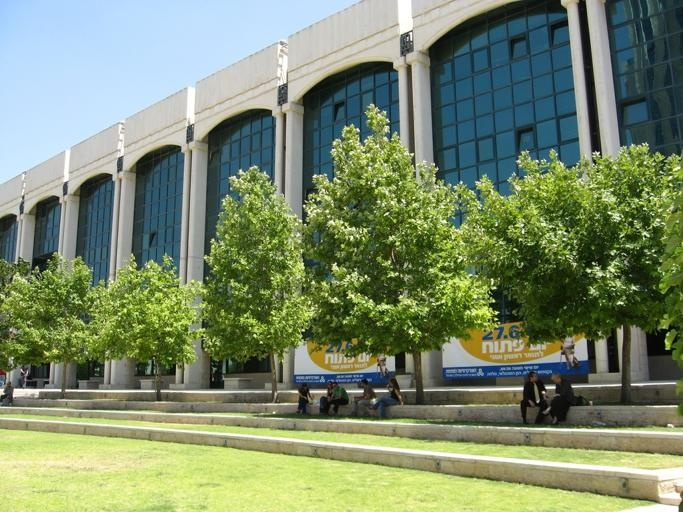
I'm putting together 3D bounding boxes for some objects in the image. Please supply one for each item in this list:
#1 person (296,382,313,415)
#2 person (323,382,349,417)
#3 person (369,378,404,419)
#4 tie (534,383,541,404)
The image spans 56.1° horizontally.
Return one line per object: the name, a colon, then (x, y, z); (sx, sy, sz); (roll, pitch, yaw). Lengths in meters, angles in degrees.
person: (-1.426, 5.569, 25.011); (0.555, 1.220, 1.577); (1, -13, -4)
person: (-0.337, 5.498, 24.445); (1.113, 1.560, 0.997); (9, -19, -10)
person: (1.644, 5.010, 22.585); (1.024, 1.360, 0.801); (12, -18, -41)
tie: (5.689, 4.022, 18.688); (0.136, 0.551, 0.257); (5, -14, -20)
